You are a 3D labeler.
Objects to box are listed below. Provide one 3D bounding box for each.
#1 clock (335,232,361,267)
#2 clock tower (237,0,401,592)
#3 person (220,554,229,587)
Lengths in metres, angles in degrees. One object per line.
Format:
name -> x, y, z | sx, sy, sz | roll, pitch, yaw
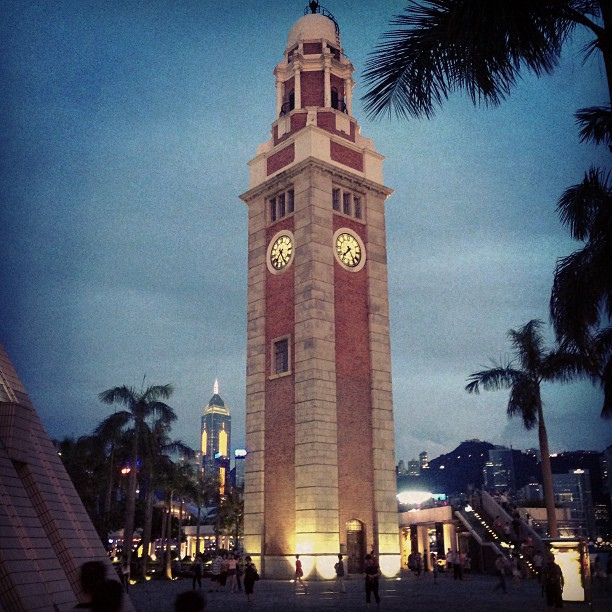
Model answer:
clock -> 2.440, -3.313, 40.560 | 0.236, 1.736, 1.677 | -23, -33, 37
clock tower -> 0.642, -3.537, 40.679 | 8.115, 37.163, 4.306 | -1, -17, -1
person -> -3.678, 12.162, 31.142 | 0.368, 1.075, 1.019 | 1, -18, -6
